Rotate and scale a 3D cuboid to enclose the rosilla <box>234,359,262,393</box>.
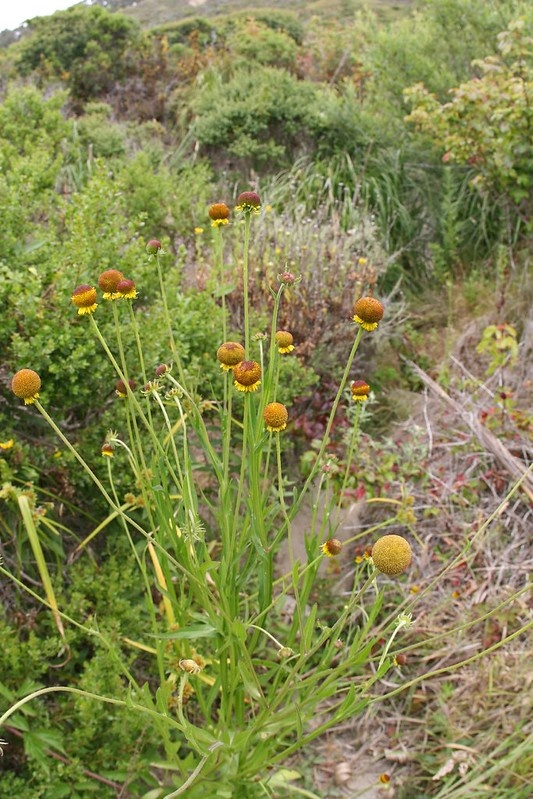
[{"bbox_3d":[-0.041,-0.058,1.597,0.066,0.063,0.067,-2,54,0],"label":"rosilla"}]

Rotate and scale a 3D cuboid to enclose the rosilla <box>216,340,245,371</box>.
[{"bbox_3d":[-0.086,-0.109,1.647,0.065,0.065,0.057,30,43,25],"label":"rosilla"}]

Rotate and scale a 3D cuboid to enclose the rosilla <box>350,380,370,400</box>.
[{"bbox_3d":[0.244,-0.034,1.816,0.054,0.054,0.054,-1,64,9],"label":"rosilla"}]
